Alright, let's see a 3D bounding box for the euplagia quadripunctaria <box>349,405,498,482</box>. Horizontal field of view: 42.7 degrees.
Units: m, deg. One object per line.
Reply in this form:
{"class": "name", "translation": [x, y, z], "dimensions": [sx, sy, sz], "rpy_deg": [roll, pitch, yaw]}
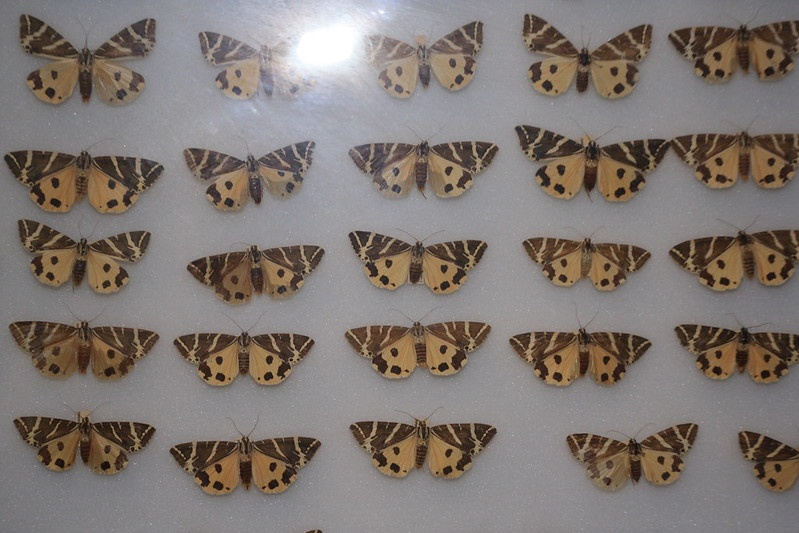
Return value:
{"class": "euplagia quadripunctaria", "translation": [0.089, 0.730, 4.112], "dimensions": [0.583, 0.062, 0.221], "rpy_deg": [3, -79, 0]}

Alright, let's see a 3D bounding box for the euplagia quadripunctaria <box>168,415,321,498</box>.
{"class": "euplagia quadripunctaria", "translation": [-0.629, 0.778, 4.105], "dimensions": [0.452, 0.041, 0.298], "rpy_deg": [-1, -87, 1]}
